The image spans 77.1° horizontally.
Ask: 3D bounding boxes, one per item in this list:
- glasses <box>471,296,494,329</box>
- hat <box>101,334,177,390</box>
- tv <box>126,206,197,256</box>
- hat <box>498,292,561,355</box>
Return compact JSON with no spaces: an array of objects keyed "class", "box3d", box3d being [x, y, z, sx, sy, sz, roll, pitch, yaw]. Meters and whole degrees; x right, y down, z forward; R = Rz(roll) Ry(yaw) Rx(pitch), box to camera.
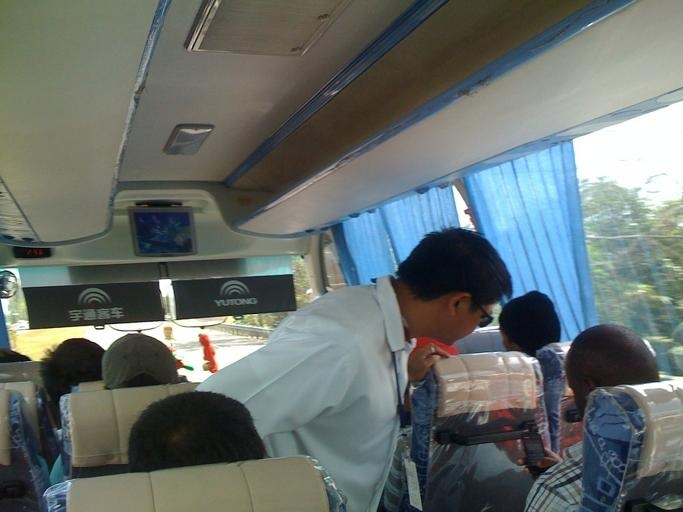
[{"class":"glasses","box3d":[0.589,0.232,1.765,0.038,0.113,0.120,-11,-12,10]},{"class":"hat","box3d":[-1.150,0.533,2.428,0.414,0.258,0.527,-1,4,-17]},{"class":"tv","box3d":[-2.058,-0.286,4.898,0.659,0.481,0.061,-3,18,-14]},{"class":"hat","box3d":[1.091,0.380,2.478,0.334,0.369,0.398,1,-2,-11]}]
